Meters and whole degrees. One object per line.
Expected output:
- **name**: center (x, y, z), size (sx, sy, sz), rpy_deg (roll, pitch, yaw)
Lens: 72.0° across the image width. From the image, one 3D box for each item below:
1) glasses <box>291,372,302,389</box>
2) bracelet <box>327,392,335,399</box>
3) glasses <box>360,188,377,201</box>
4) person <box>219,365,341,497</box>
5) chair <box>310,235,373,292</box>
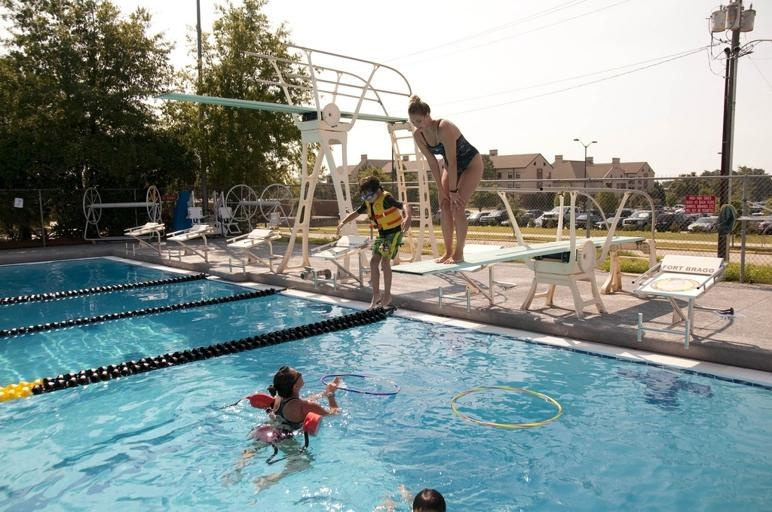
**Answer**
- **glasses**: center (-1.070, 1.490, 6.360), size (0.070, 0.153, 0.119), rpy_deg (3, 7, -43)
- **bracelet**: center (-0.730, 1.831, 6.928), size (0.085, 0.092, 0.063), rpy_deg (15, 11, 14)
- **glasses**: center (-0.313, -1.112, 9.675), size (0.209, 0.144, 0.260), rpy_deg (1, 32, 21)
- **person**: center (-1.247, 1.895, 6.329), size (0.741, 1.075, 1.566), rpy_deg (20, 33, 31)
- **chair**: center (-0.865, 0.125, 11.653), size (1.236, 1.322, 1.319), rpy_deg (1, -1, 40)
